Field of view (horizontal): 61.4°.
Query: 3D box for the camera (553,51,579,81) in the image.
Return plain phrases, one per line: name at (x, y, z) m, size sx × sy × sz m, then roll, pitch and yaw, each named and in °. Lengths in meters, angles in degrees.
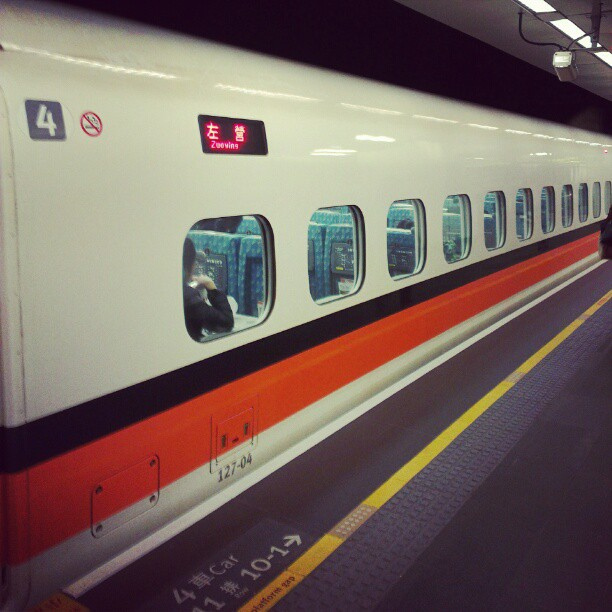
camera at (2.876, -2.670, 5.720) m, size 0.221 × 0.276 × 0.413 m, roll 9°, pitch 15°, yaw 34°
